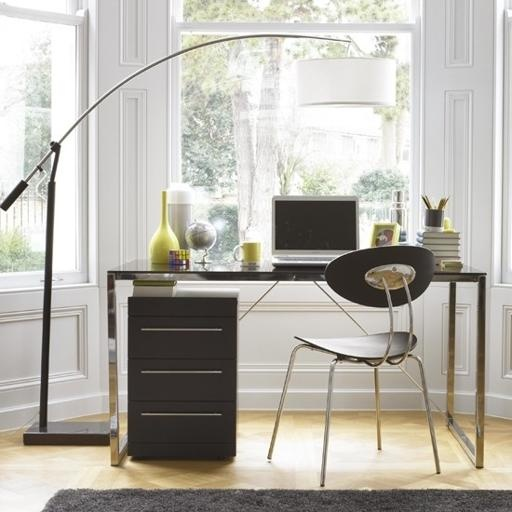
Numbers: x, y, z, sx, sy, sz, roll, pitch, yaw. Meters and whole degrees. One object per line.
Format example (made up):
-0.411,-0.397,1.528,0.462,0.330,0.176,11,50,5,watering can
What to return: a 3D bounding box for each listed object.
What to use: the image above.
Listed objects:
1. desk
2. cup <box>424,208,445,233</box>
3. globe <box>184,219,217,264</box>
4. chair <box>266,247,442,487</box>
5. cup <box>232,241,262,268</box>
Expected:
0.012,0.511,3.284,2.425,1.180,1.021,0,-1,-2,desk
0.772,-0.155,2.400,0.076,0.092,0.098,-1,-2,12,cup
-0.254,-0.058,2.533,0.140,0.203,0.146,-5,1,-9,globe
0.402,0.405,2.177,0.589,0.834,0.585,3,-7,-30,chair
-0.033,-0.004,2.464,0.138,0.112,0.084,-1,5,-14,cup
